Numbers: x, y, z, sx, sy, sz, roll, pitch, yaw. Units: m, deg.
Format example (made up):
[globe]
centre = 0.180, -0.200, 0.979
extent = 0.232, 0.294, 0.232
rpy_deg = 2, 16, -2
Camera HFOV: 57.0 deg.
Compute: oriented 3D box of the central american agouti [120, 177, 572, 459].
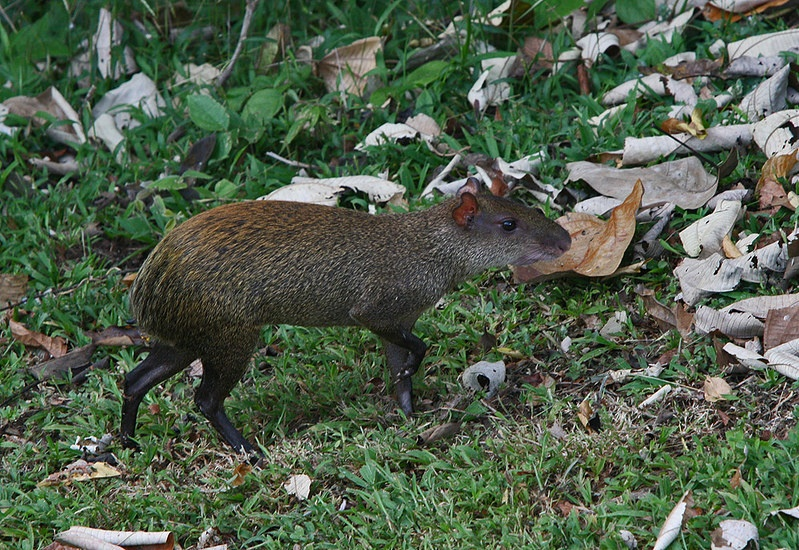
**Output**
[central american agouti]
centre = -0.405, 0.116, 4.675
extent = 2.449, 1.002, 0.945
rpy_deg = -12, 51, -10
